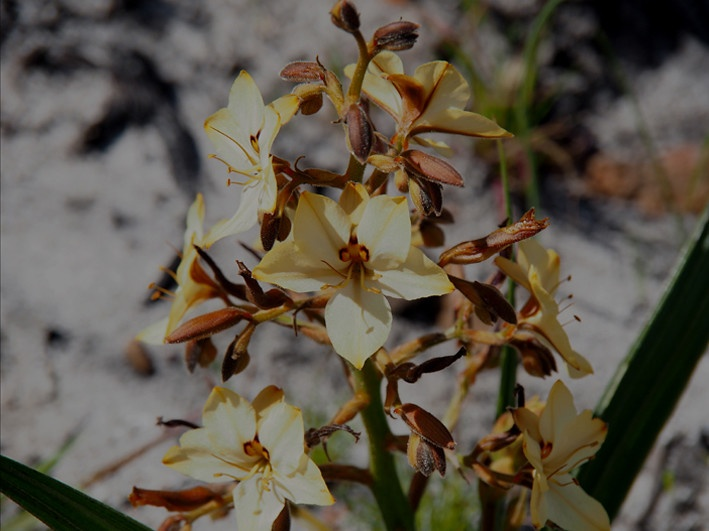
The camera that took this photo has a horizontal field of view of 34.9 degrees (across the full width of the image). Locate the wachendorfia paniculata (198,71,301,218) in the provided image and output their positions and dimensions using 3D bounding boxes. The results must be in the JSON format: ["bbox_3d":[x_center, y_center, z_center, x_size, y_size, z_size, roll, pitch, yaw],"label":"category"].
[{"bbox_3d":[-0.280,-0.416,3.703,0.355,0.174,0.455,-31,72,41],"label":"wachendorfia paniculata"}]

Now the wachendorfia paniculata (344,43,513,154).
[{"bbox_3d":[0.229,-0.533,3.657,0.365,0.375,0.186,31,104,30],"label":"wachendorfia paniculata"}]

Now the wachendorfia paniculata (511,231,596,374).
[{"bbox_3d":[0.609,0.113,3.682,0.139,0.391,0.393,-11,61,21],"label":"wachendorfia paniculata"}]
